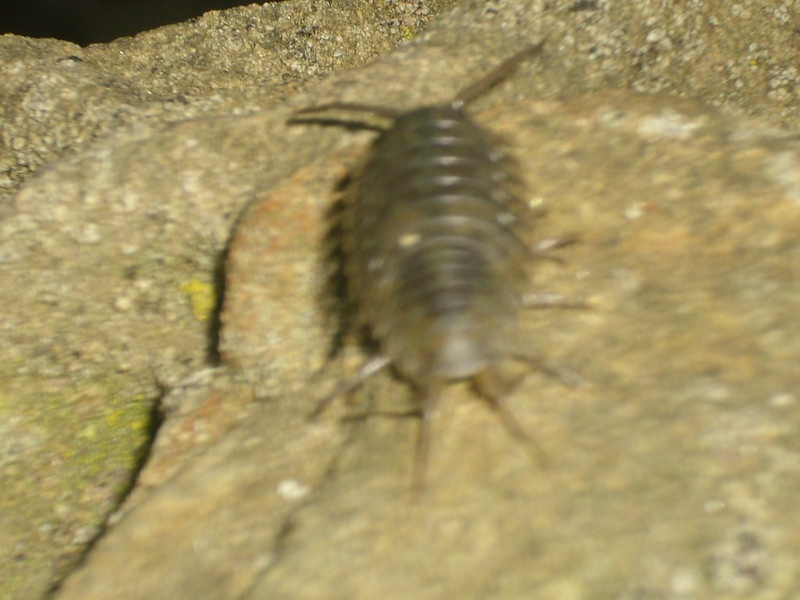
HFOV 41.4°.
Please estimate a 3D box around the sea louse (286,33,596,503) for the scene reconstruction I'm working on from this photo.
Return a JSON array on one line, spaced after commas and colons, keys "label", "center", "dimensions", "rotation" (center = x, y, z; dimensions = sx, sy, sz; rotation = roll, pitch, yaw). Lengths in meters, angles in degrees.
[{"label": "sea louse", "center": [0.119, -0.055, 2.220], "dimensions": [0.544, 0.353, 0.781], "rotation": [4, 82, 3]}]
